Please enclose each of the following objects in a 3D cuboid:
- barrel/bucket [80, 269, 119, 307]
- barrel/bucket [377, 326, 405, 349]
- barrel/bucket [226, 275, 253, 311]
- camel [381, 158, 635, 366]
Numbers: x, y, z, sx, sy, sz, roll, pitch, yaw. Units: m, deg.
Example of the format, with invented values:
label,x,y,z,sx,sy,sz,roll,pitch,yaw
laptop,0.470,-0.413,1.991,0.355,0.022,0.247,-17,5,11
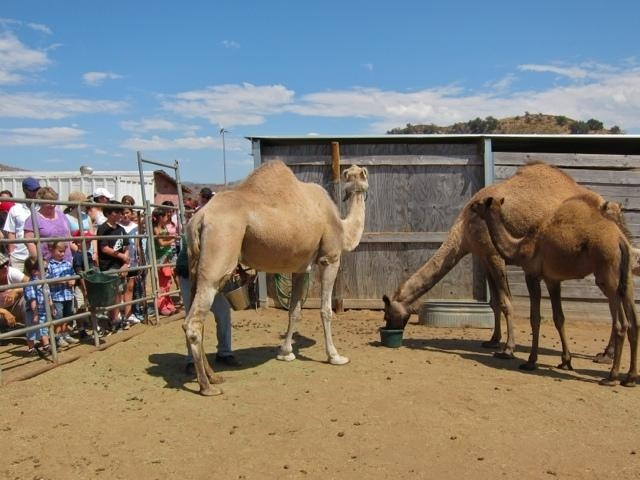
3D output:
label,x,y,z,sx,sy,sz,roll,pitch,yaw
barrel/bucket,-3.343,0.773,8.102,0.438,0.623,0.489,2,8,12
barrel/bucket,1.123,1.559,8.489,0.348,0.188,0.326,0,-8,0
barrel/bucket,-1.148,0.764,7.533,0.536,0.359,0.520,-1,-2,0
camel,3.945,0.433,8.423,4.932,3.089,3.507,0,7,-42
